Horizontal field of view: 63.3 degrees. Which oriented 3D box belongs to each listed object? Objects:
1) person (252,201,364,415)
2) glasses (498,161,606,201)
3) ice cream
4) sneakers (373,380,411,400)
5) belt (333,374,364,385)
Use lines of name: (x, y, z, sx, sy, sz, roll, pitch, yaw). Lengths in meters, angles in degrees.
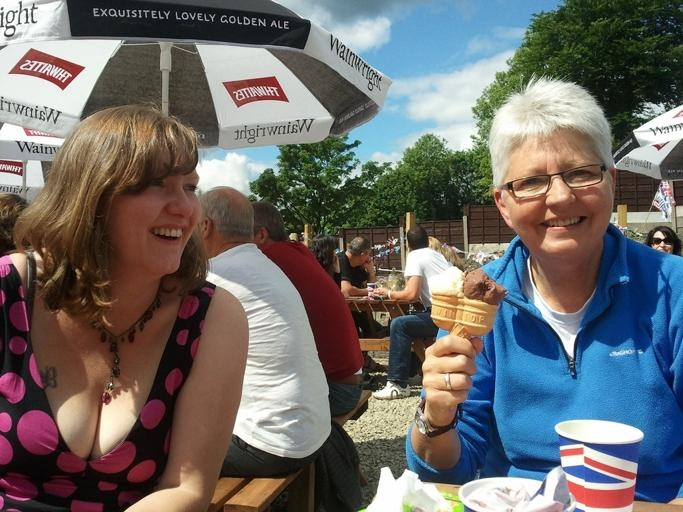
person: (-0.342, 0.459, 4.650, 0.910, 1.831, 1.123, 4, 6, 12)
glasses: (0.948, -0.323, 2.447, 0.415, 0.155, 0.082, -4, -1, 17)
ice cream: (0.503, 0.189, 2.371, 0.306, 0.318, 0.245, 7, 0, -10)
sneakers: (0.616, 1.605, 6.597, 0.397, 0.193, 0.203, 1, -6, 1)
belt: (0.041, 0.964, 4.304, 0.207, 0.100, 0.280, -2, -8, 5)
